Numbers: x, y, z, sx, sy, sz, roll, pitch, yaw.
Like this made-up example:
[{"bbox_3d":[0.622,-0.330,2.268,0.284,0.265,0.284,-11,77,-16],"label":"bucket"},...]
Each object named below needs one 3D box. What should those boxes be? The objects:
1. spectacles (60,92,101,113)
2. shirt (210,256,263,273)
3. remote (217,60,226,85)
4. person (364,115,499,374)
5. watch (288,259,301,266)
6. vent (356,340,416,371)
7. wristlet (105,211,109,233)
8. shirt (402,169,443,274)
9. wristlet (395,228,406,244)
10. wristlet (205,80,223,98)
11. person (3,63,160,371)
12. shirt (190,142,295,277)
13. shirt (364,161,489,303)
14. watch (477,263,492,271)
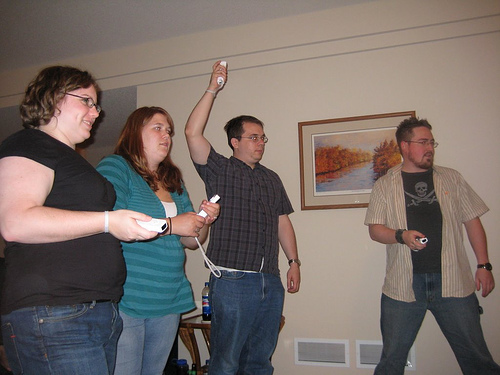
[{"bbox_3d":[-0.727,-0.360,1.676,0.089,0.028,0.088,17,-3,12],"label":"spectacles"},{"bbox_3d":[-0.126,0.488,2.424,0.402,0.076,0.177,5,-4,-42],"label":"shirt"},{"bbox_3d":[-0.172,-0.696,2.386,0.037,0.153,0.040,1,-3,20],"label":"remote"},{"bbox_3d":[1.227,0.365,2.627,0.771,1.742,0.514,2,-3,-8],"label":"person"},{"bbox_3d":[0.320,0.525,2.854,0.072,0.048,0.069,2,-41,0],"label":"watch"},{"bbox_3d":[1.006,1.259,2.950,0.421,0.224,0.033,1,-3,13],"label":"vent"},{"bbox_3d":[-0.549,0.134,1.515,0.014,0.057,0.057,2,2,-23],"label":"wristlet"},{"bbox_3d":[1.150,0.231,2.627,0.233,0.669,0.187,1,-3,20],"label":"shirt"},{"bbox_3d":[0.950,0.312,2.481,0.057,0.086,0.082,-4,-6,44],"label":"wristlet"},{"bbox_3d":[-0.217,-0.594,2.395,0.099,0.099,0.053,2,-3,-6],"label":"wristlet"},{"bbox_3d":[-0.716,0.161,1.611,0.532,1.369,0.434,4,-3,-30],"label":"person"},{"bbox_3d":[-0.075,0.152,2.696,0.984,0.915,0.381,15,-21,-40],"label":"shirt"},{"bbox_3d":[1.224,0.295,2.667,0.916,1.033,0.557,-2,-14,5],"label":"shirt"},{"bbox_3d":[1.561,0.530,2.625,0.095,0.053,0.036,2,-3,-5],"label":"watch"}]
